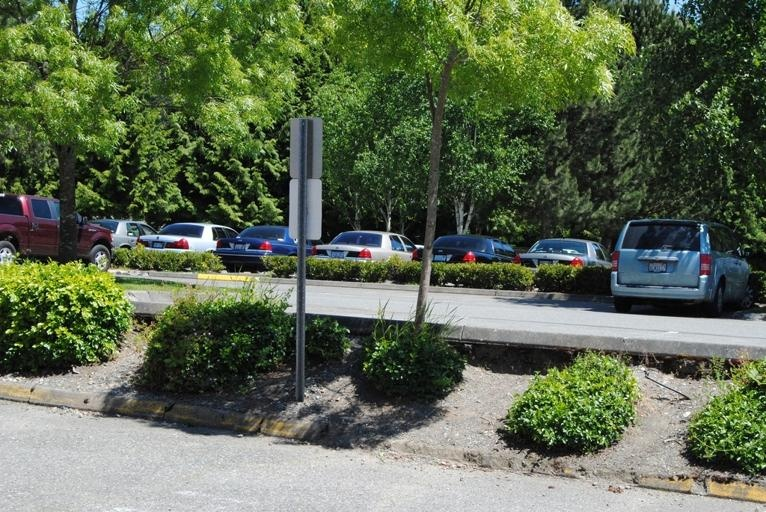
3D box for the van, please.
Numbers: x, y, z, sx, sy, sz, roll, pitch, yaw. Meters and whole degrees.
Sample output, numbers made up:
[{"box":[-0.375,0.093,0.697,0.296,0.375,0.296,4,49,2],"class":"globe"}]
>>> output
[{"box":[7.005,0.163,19.300,1.670,1.472,3.039,0,3,31],"class":"van"}]
